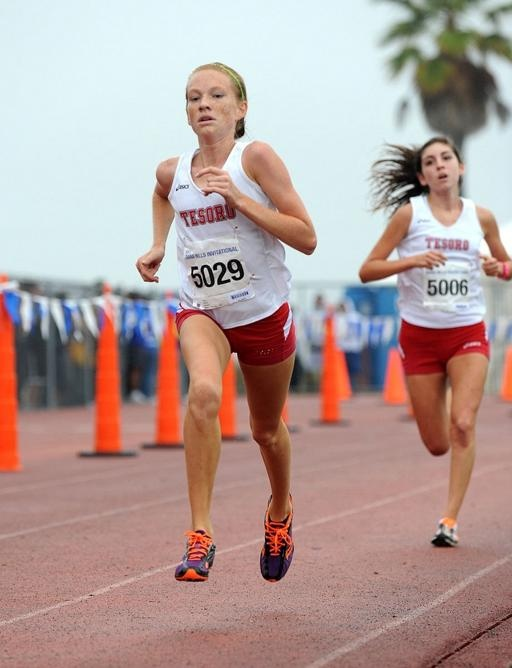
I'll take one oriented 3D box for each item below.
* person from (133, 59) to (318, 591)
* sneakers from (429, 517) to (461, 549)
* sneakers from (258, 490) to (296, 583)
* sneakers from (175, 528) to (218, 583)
[{"bbox_3d":[-0.091,0.022,3.161,0.650,2.005,1.054,-4,6,-8],"label":"person"},{"bbox_3d":[0.949,0.999,4.319,0.125,0.137,0.293,-1,-12,9],"label":"sneakers"},{"bbox_3d":[0.091,0.802,3.443,0.115,0.331,0.132,4,-20,4],"label":"sneakers"},{"bbox_3d":[-0.183,0.690,2.709,0.078,0.103,0.216,1,0,4],"label":"sneakers"}]
